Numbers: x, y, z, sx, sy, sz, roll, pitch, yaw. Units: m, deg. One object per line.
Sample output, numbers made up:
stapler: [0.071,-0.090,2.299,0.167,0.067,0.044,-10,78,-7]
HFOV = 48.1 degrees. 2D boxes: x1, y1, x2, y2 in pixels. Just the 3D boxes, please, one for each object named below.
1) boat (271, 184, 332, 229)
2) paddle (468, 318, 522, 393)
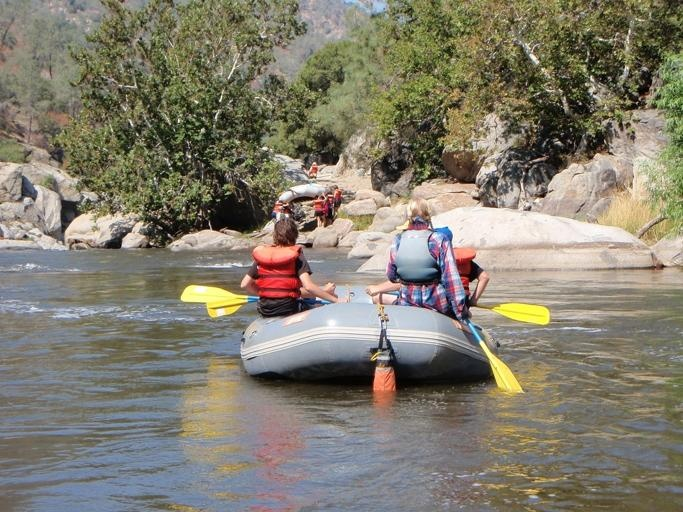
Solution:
boat: [-1.881,-2.439,35.969,2.944,0.714,2.373,-12,-1,-39]
paddle: [1.659,1.155,8.321,0.268,0.045,0.962,-12,25,-7]
